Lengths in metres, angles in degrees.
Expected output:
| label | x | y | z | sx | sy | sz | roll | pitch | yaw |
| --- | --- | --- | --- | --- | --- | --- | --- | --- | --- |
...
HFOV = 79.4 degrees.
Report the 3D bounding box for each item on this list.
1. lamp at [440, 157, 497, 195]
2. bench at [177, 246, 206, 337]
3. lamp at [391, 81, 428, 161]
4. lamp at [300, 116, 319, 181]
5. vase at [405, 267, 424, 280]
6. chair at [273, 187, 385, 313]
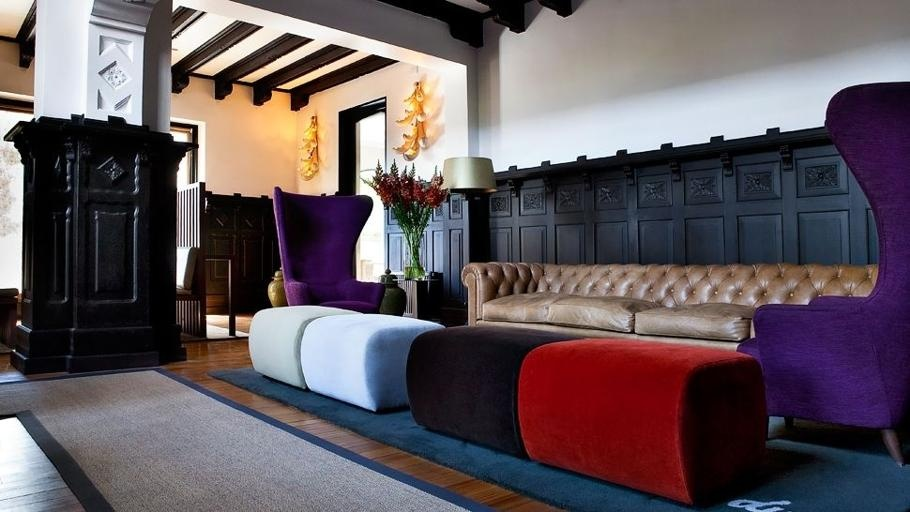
| label | x | y | z | sx | sy | sz | roll | pitch | yaw |
| --- | --- | --- | --- | --- | --- | --- | --- | --- | --- |
| lamp | 0.160 | -0.970 | 6.496 | 0.514 | 0.236 | 0.495 | -2 | -5 | 29 |
| bench | -3.168 | 0.456 | 6.592 | 0.461 | 1.014 | 1.153 | 1 | -3 | -32 |
| lamp | -0.637 | -2.102 | 8.449 | 0.291 | 1.244 | 0.623 | -9 | 13 | -44 |
| lamp | -2.700 | -2.020 | 10.197 | 0.630 | 1.202 | 0.262 | 9 | 13 | 43 |
| vase | -0.520 | 0.230 | 7.035 | 0.186 | 0.102 | 0.179 | 0 | -1 | 30 |
| chair | -1.229 | -0.088 | 5.329 | 0.974 | 1.153 | 1.051 | 0 | 9 | -2 |
